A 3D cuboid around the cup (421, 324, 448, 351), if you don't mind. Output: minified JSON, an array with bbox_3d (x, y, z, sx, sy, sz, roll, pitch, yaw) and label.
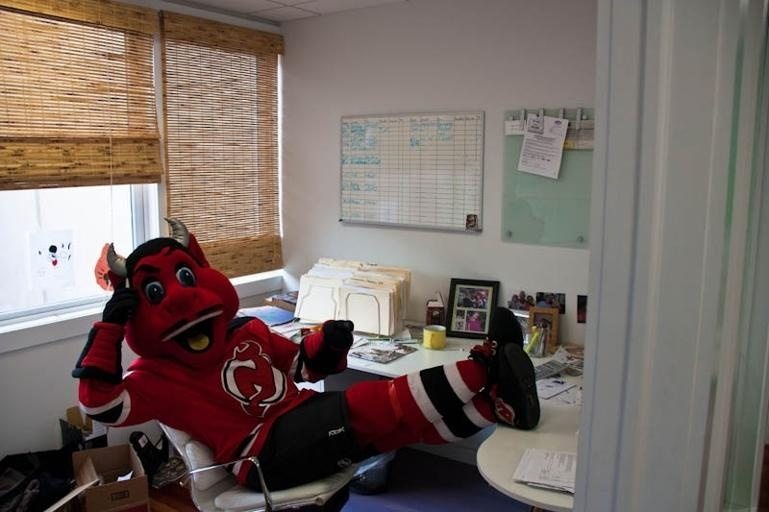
[{"bbox_3d":[0.278,0.447,2.881,0.103,0.093,0.136,6,12,30],"label":"cup"}]

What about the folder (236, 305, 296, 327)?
[{"bbox_3d":[-0.663,0.343,2.946,0.205,0.054,0.200,6,6,30],"label":"folder"}]

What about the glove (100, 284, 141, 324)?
[{"bbox_3d":[-0.967,0.182,1.935,0.110,0.145,0.063,22,-4,22],"label":"glove"}]

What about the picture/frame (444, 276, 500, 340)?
[{"bbox_3d":[0.516,0.306,2.996,0.330,0.374,0.028,8,-7,15],"label":"picture/frame"}]

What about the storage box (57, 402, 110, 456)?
[{"bbox_3d":[-1.662,0.902,2.789,0.131,0.187,0.138,-33,-30,27],"label":"storage box"}]

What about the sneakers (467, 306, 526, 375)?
[{"bbox_3d":[0.466,0.329,2.159,0.129,0.160,0.382,7,19,14],"label":"sneakers"}]

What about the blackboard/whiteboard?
[{"bbox_3d":[0.210,-0.537,3.262,0.810,0.565,0.094,5,10,29],"label":"blackboard/whiteboard"}]
